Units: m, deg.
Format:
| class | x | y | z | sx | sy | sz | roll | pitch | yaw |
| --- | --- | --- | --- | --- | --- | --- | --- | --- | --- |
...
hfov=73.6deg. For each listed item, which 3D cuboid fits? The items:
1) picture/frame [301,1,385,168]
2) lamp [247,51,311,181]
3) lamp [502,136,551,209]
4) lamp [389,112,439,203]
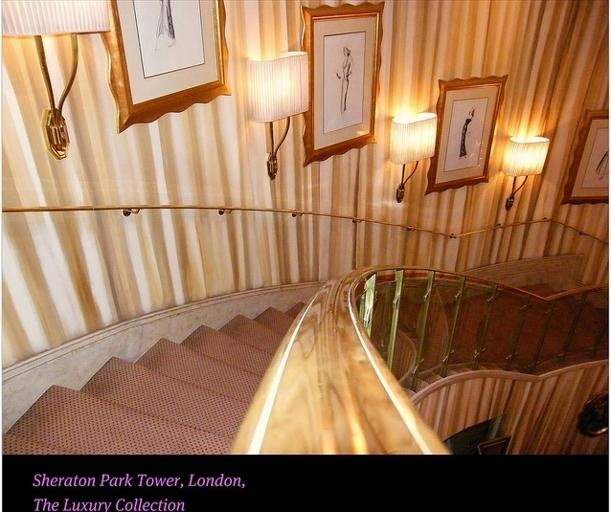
| class | x | y | z | sx | sy | sz | roll | pitch | yaw |
| --- | --- | --- | --- | --- | --- | --- | --- | --- | --- |
| picture/frame | 0.305 | -1.541 | 3.563 | 1.043 | 0.059 | 1.371 | -22 | -57 | -37 |
| lamp | -0.222 | -1.141 | 3.225 | 0.537 | 0.295 | 1.022 | -32 | -46 | -39 |
| lamp | 2.617 | -1.034 | 4.874 | 0.481 | 0.281 | 1.011 | -16 | -59 | -23 |
| lamp | 1.093 | -1.041 | 4.180 | 0.496 | 0.271 | 0.961 | -23 | -55 | -29 |
